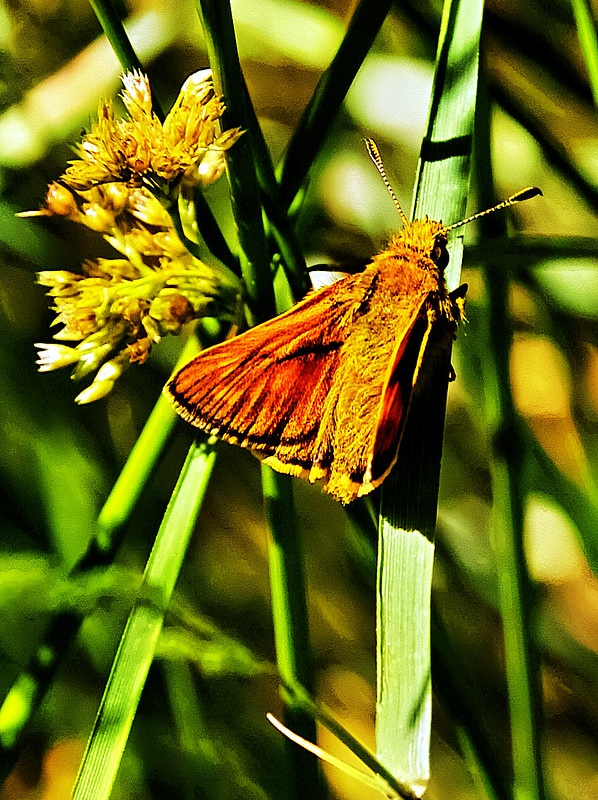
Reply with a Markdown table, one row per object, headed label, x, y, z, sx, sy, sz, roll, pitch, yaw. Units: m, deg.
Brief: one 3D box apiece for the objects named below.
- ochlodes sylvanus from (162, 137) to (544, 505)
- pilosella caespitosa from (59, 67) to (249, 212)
| label | x | y | z | sx | sy | sz | roll | pitch | yaw |
| --- | --- | --- | --- | --- | --- | --- | --- | --- | --- |
| ochlodes sylvanus | 0.058 | -0.036 | 0.677 | 0.259 | 0.337 | 0.130 | 24 | -2 | 34 |
| pilosella caespitosa | -0.126 | -0.208 | 0.605 | 0.165 | 0.108 | 0.061 | 13 | 6 | 20 |
